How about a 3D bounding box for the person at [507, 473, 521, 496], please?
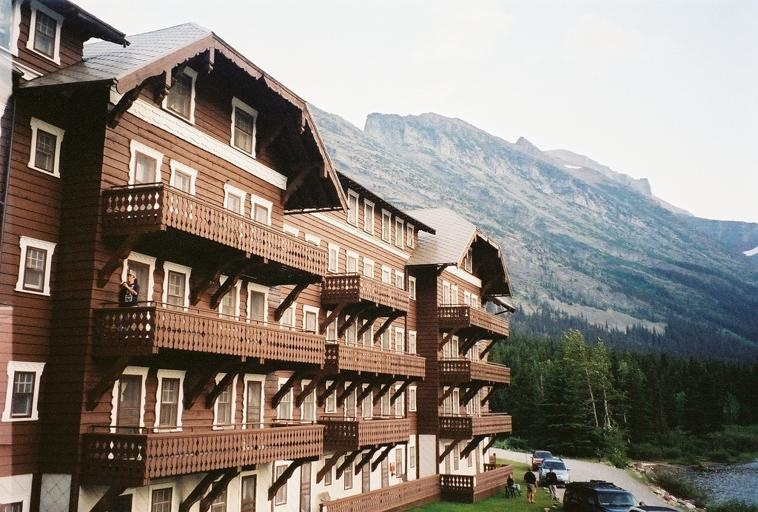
[{"bbox_3d":[10.843,18.794,62.750,1.298,2.314,1.066,-6,-11,17],"label":"person"}]
